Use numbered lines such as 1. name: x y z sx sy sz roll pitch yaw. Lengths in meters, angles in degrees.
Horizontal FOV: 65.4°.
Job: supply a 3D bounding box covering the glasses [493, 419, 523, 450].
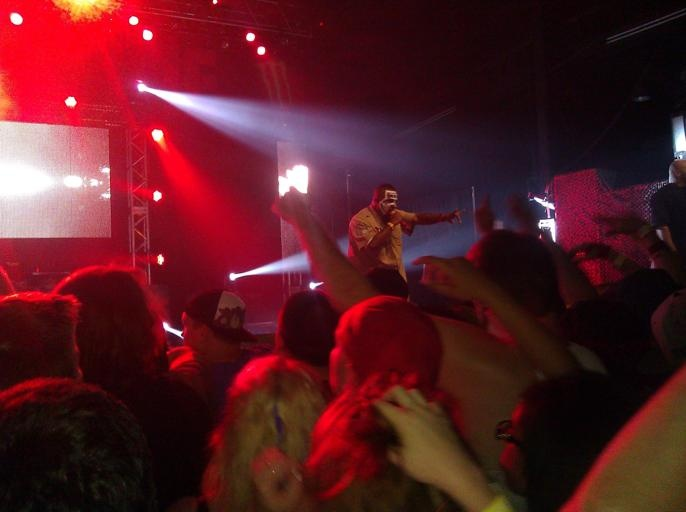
1. glasses: 0.566 0.614 1.848 0.100 0.064 0.049 27 -19 -28
